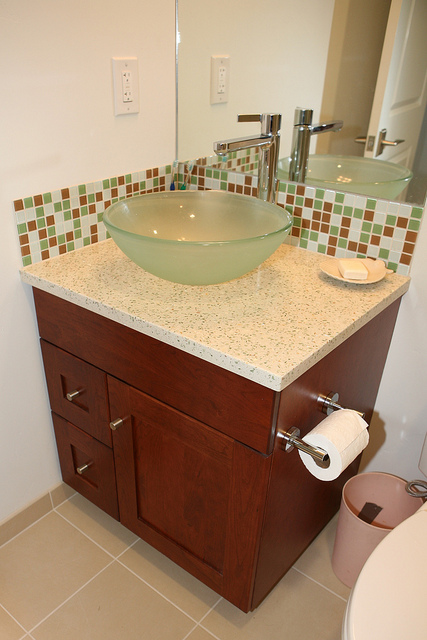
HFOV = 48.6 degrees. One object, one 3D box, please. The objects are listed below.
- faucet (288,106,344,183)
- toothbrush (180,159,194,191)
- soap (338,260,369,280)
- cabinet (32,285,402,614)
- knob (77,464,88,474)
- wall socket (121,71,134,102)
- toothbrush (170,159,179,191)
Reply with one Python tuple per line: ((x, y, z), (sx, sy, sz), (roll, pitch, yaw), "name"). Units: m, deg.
((0.234, -0.402, 1.063), (0.124, 0.236, 0.041), (25, 40, 33), "faucet")
((-0.074, -0.413, 1.336), (0.047, 0.085, 0.007), (18, 29, 33), "toothbrush")
((0.297, -0.106, 0.991), (0.039, 0.014, 0.058), (1, 31, -13), "soap")
((-0.048, 0.208, 1.200), (0.635, 0.661, 0.463), (20, 31, 30), "cabinet")
((-0.349, 0.399, 1.265), (0.026, 0.028, 0.104), (-6, -14, -16), "knob")
((-0.197, -0.539, 1.085), (0.011, 0.061, 0.040), (14, 27, 27), "wall socket")
((-0.111, -0.416, 1.344), (0.026, 0.082, 0.015), (-1, 24, -5), "toothbrush")
